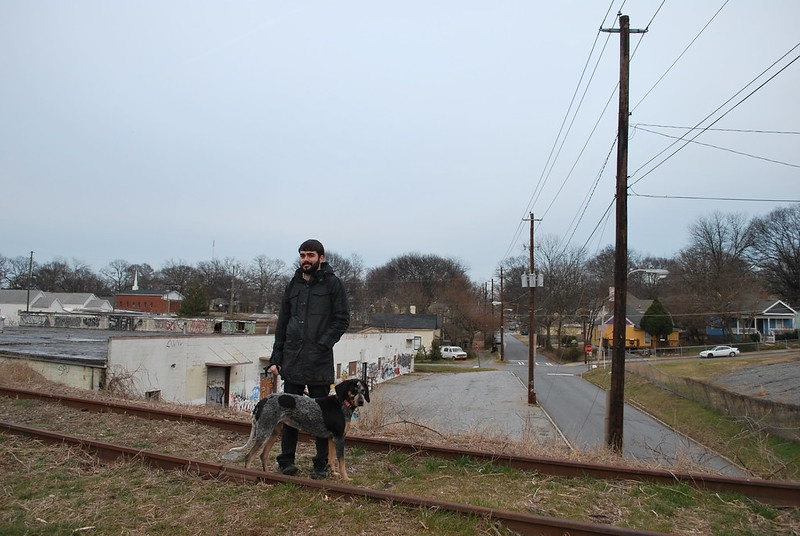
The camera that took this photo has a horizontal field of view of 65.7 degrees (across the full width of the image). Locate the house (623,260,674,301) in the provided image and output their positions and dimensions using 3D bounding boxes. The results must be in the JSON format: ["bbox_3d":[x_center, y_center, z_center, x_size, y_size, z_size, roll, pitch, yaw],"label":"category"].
[{"bbox_3d":[31.625,1.639,78.168,5.867,5.600,5.554,-3,9,17],"label":"house"}]

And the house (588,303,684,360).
[{"bbox_3d":[20.173,5.456,51.963,10.488,5.921,5.047,-1,-1,5],"label":"house"}]
